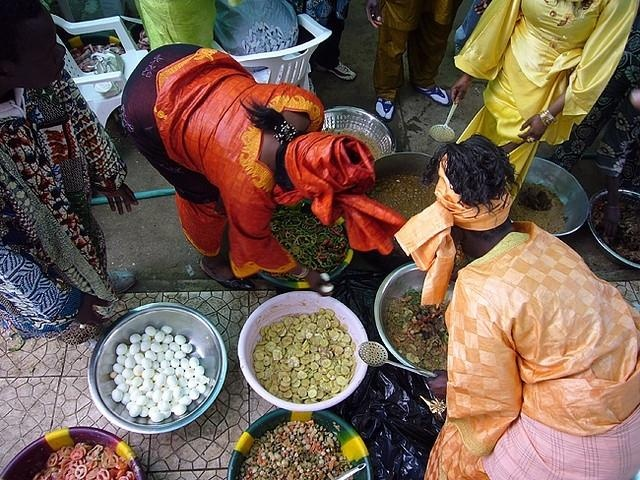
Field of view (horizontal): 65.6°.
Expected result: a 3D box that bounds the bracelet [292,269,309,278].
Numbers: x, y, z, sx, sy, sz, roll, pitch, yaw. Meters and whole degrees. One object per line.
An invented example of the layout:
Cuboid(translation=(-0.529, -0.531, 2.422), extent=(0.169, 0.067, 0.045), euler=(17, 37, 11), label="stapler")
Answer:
Cuboid(translation=(-0.126, 0.215, 3.169), extent=(0.075, 0.106, 0.046), euler=(4, 96, 6), label="bracelet")

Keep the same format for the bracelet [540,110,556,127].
Cuboid(translation=(1.535, -0.819, 3.329), extent=(0.052, 0.076, 0.088), euler=(-18, 42, 34), label="bracelet")
